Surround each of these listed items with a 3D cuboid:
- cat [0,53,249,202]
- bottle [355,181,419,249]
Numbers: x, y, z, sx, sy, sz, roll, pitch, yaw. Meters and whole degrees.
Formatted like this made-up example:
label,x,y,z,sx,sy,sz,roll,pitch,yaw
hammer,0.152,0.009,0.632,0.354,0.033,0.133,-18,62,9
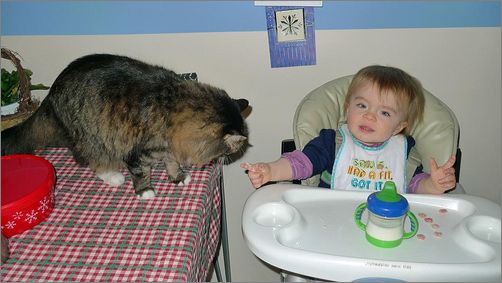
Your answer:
label,x,y,z,sx,sy,sz,roll,pitch,yaw
cat,-0.771,-0.171,1.830,1.658,0.651,0.507,7,25,1
bottle,0.499,0.262,1.414,0.303,0.269,0.190,3,19,20
